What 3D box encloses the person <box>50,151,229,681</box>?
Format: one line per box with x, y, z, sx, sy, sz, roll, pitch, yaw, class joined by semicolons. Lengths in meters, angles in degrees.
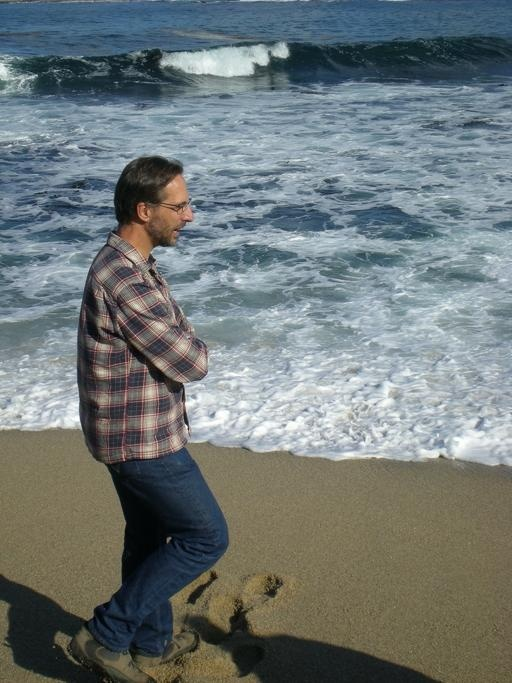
-0.363;0.306;2.328;0.517;1.756;0.616;0;23;10;person
